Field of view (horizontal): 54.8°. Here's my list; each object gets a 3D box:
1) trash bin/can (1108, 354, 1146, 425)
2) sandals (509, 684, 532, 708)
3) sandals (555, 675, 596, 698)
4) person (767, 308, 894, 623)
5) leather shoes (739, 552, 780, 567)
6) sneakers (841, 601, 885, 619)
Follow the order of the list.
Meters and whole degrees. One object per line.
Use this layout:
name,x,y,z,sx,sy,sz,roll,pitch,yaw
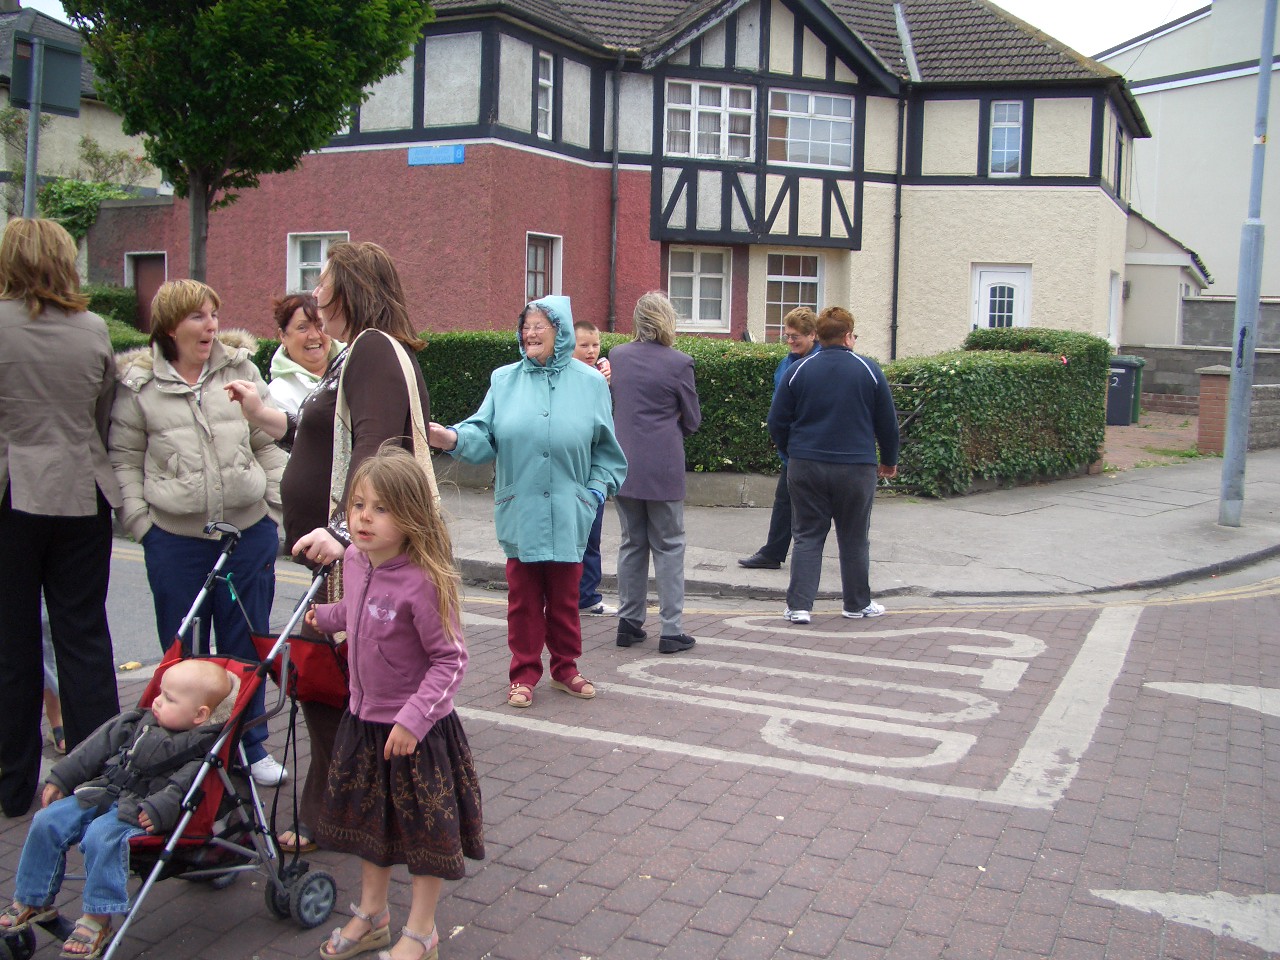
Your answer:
trash bin/can,9.345,-1.704,23.698,0.469,1.310,1.363,8,12,41
sandals,-0.701,1.284,7.349,0.140,0.124,0.136,-1,9,-5
sandals,-0.393,1.258,7.591,0.253,0.089,0.108,3,9,38
person,1.497,-0.112,9.438,0.924,2.342,0.620,-1,9,-4
leather shoes,1.047,0.731,10.842,0.317,0.162,0.138,4,5,13
sneakers,1.731,1.021,9.562,0.302,0.157,0.132,-6,9,-22
